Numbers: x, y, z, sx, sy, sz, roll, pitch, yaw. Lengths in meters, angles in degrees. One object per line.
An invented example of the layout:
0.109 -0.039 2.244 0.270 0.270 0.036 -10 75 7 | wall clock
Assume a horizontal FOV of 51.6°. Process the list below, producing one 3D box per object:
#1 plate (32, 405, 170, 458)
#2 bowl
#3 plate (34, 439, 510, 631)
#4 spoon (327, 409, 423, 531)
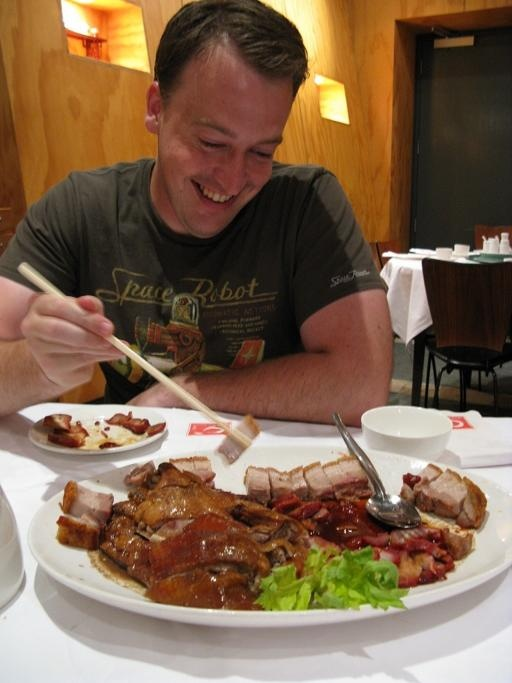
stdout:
-0.376 0.195 1.355 0.298 0.090 0.250 1 6 22 | plate
0.336 0.199 1.185 0.184 0.116 0.180 4 8 -1 | bowl
-0.019 0.228 0.805 0.562 0.152 0.422 -4 6 -36 | plate
0.230 0.242 0.979 0.046 0.033 0.223 -3 30 -9 | spoon
